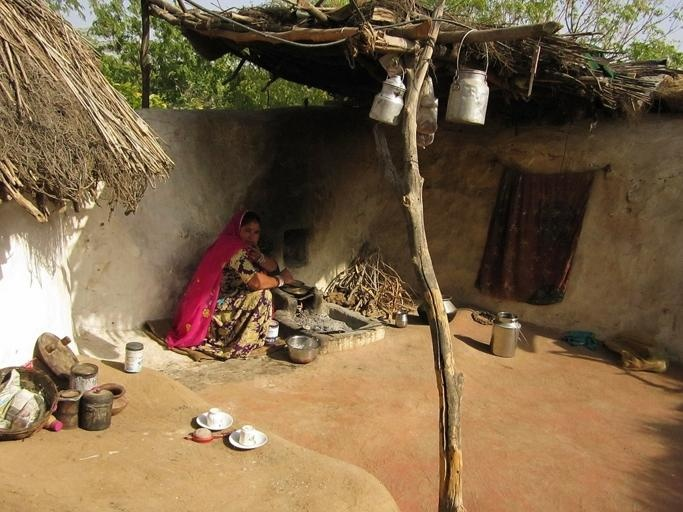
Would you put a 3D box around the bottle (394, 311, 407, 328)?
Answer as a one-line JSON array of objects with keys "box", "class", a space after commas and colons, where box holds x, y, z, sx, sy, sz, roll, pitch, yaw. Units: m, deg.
[{"box": [0.705, 0.773, 7.619, 0.151, 0.168, 0.193, 1, 0, 27], "class": "bottle"}]

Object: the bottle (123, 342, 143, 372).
[{"box": [-1.825, 0.882, 5.483, 0.148, 0.245, 0.208, 0, 17, -20], "class": "bottle"}]

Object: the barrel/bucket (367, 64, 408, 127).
[{"box": [0.405, -1.393, 5.356, 0.263, 0.502, 0.507, 7, 16, 2], "class": "barrel/bucket"}]

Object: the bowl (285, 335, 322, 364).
[{"box": [-0.395, 0.946, 6.450, 0.290, 0.130, 0.296, 3, 11, -1], "class": "bowl"}]

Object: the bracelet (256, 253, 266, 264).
[{"box": [-0.859, 0.029, 6.637, 0.100, 0.088, 0.099, 5, -3, 42], "class": "bracelet"}]

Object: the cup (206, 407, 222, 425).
[{"box": [-1.013, 1.277, 5.007, 0.122, 0.103, 0.121, 2, 10, 0], "class": "cup"}]

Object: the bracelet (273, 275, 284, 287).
[{"box": [-0.658, 0.263, 6.524, 0.112, 0.041, 0.105, 17, 47, -30], "class": "bracelet"}]

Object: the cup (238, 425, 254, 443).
[{"box": [-0.728, 1.364, 4.794, 0.112, 0.115, 0.131, -4, 18, -33], "class": "cup"}]

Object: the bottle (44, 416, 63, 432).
[{"box": [-2.145, 1.252, 4.667, 0.112, 0.109, 0.068, 8, 16, 7], "class": "bottle"}]

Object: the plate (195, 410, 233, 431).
[{"box": [-1.023, 1.313, 4.972, 0.208, 0.070, 0.201, 5, 4, 27], "class": "plate"}]
